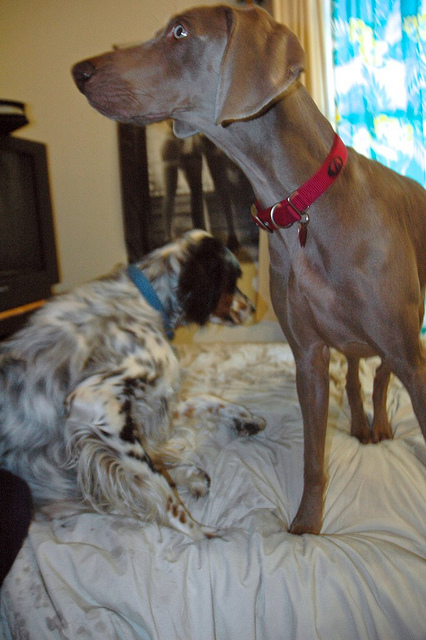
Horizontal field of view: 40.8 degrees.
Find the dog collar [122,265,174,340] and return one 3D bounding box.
[{"bbox_3d":[-0.197,-0.053,1.802,0.053,0.219,0.160,-34,0,-4],"label":"dog collar"}]

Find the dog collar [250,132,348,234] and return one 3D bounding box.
[{"bbox_3d":[0.200,-0.265,1.154,0.194,0.059,0.178,-59,11,-19],"label":"dog collar"}]

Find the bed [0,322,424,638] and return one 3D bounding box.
[{"bbox_3d":[0.064,0.417,1.338,0.744,0.191,0.772,4,26,36],"label":"bed"}]
